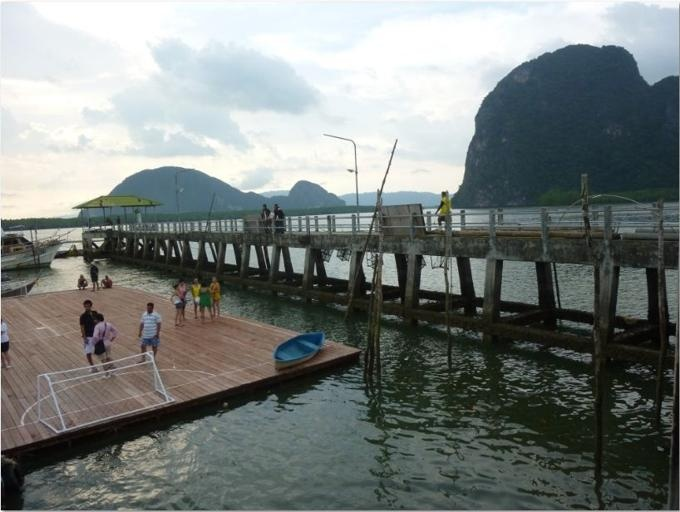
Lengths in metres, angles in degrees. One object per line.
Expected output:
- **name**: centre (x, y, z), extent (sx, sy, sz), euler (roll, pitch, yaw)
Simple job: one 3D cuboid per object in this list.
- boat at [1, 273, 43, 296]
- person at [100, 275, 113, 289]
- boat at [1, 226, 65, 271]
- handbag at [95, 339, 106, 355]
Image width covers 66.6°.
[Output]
- **boat**: centre (-26.953, 2.471, 44.171), extent (2.324, 1.729, 5.899), euler (-11, 7, -43)
- **person**: centre (-18.460, 2.078, 41.199), extent (1.041, 1.262, 0.852), euler (0, 8, -22)
- **boat**: centre (-38.542, -0.375, 64.013), extent (3.878, 4.167, 7.734), euler (2, 7, 11)
- **handbag**: centre (-8.567, 3.237, 18.581), extent (0.371, 0.669, 0.526), euler (-3, 8, -25)
